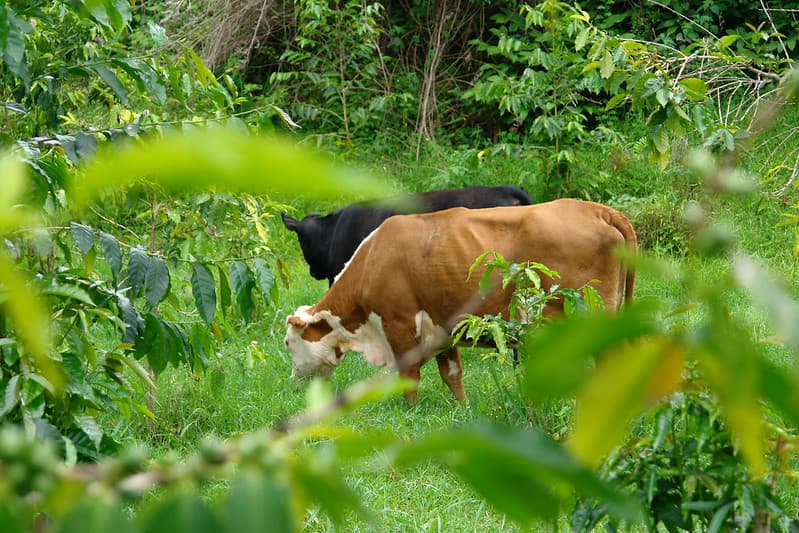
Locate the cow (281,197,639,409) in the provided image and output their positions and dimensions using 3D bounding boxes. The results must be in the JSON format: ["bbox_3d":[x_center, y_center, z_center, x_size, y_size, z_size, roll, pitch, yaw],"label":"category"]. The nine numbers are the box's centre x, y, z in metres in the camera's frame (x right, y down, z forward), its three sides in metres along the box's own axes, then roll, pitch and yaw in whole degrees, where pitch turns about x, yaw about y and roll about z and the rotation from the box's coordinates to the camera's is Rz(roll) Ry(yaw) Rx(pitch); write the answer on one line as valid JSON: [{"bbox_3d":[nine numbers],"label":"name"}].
[{"bbox_3d":[0.345,0.315,6.167,2.507,1.411,0.705,-8,6,15],"label":"cow"}]
